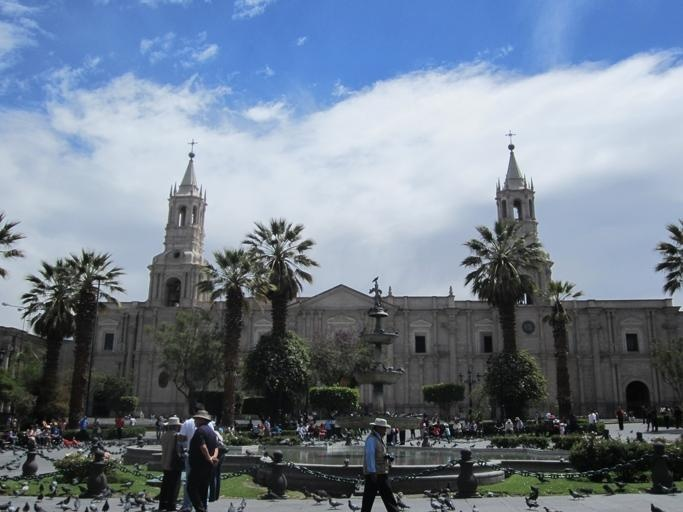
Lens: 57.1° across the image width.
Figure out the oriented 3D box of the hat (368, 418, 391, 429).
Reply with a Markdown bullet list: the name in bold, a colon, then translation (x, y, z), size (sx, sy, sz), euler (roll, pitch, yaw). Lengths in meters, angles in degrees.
- **hat**: translation (0.844, 3.654, 13.729), size (0.537, 0.212, 0.485), euler (3, -8, -4)

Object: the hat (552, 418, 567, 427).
- **hat**: translation (12.999, 9.921, 37.391), size (0.850, 0.206, 0.804), euler (4, -6, -23)

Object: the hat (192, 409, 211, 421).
- **hat**: translation (-3.193, 3.661, 14.618), size (0.412, 0.173, 0.453), euler (8, -30, 6)
